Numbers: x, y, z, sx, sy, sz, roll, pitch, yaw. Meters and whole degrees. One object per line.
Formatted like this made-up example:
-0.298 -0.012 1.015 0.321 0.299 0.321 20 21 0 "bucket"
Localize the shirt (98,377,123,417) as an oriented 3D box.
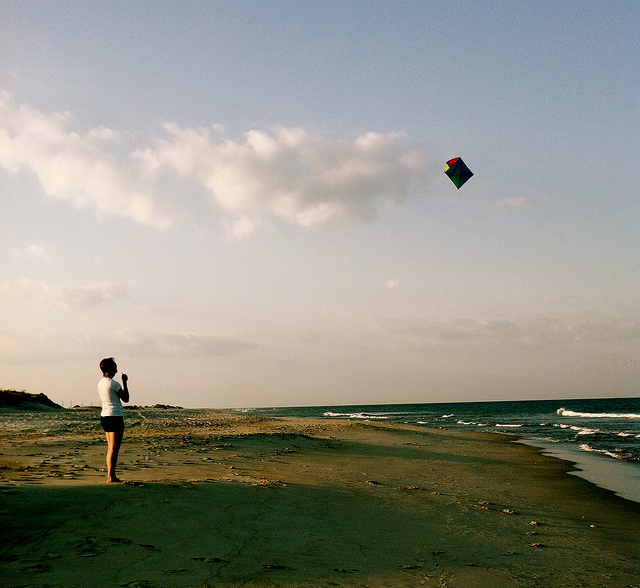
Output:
-3.335 1.623 9.596 0.337 0.618 0.389 1 -9 -21 "shirt"
